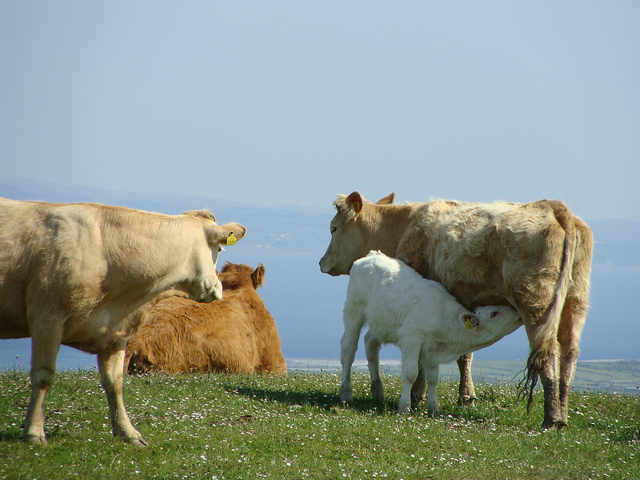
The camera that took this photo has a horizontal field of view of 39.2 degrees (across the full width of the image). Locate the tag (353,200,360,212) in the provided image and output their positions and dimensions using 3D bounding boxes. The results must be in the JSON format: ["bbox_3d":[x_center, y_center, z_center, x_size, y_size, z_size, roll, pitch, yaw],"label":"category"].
[{"bbox_3d":[0.749,-0.680,18.387,0.107,0.185,0.045,-1,11,19],"label":"tag"}]

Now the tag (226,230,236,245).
[{"bbox_3d":[-1.299,-0.034,13.119,0.144,0.284,0.032,7,25,6],"label":"tag"}]

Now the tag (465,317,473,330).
[{"bbox_3d":[2.491,1.393,15.054,0.150,0.246,0.139,4,9,44],"label":"tag"}]

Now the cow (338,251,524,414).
[{"bbox_3d":[1.764,1.762,15.688,3.386,2.753,1.078,7,2,41],"label":"cow"}]

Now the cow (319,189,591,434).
[{"bbox_3d":[2.342,0.747,18.490,7.235,5.485,2.270,4,0,39],"label":"cow"}]
